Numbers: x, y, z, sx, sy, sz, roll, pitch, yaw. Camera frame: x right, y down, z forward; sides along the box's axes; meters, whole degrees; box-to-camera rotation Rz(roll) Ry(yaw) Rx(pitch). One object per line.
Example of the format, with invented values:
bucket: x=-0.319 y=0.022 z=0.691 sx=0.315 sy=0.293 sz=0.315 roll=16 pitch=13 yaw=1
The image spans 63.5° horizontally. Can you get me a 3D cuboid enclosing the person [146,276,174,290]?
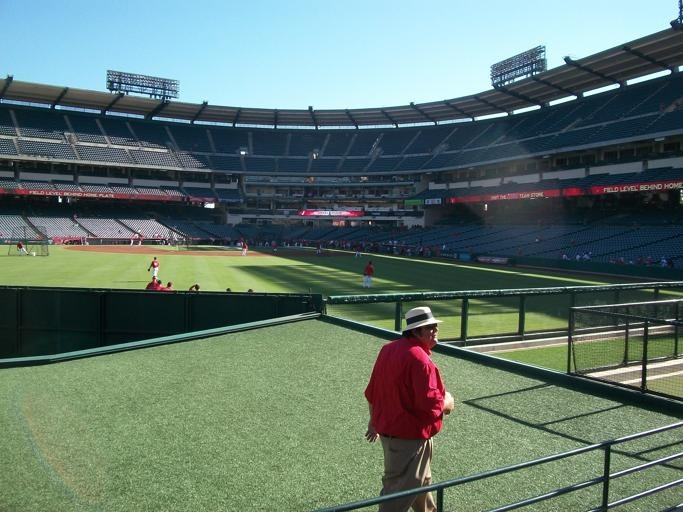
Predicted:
person: x=-7.716 y=1.139 z=23.306 sx=0.364 sy=0.688 sz=0.491 roll=31 pitch=28 yaw=19

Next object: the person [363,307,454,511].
person: x=0.713 y=1.624 z=6.222 sx=0.990 sy=2.086 sz=0.394 roll=-4 pitch=-4 yaw=10

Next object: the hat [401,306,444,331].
hat: x=0.938 y=0.691 z=6.353 sx=0.430 sy=0.119 sz=0.417 roll=-12 pitch=-6 yaw=32

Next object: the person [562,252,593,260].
person: x=17.111 y=0.036 z=40.061 sx=1.434 sy=0.221 sz=1.036 roll=-8 pitch=7 yaw=-2
